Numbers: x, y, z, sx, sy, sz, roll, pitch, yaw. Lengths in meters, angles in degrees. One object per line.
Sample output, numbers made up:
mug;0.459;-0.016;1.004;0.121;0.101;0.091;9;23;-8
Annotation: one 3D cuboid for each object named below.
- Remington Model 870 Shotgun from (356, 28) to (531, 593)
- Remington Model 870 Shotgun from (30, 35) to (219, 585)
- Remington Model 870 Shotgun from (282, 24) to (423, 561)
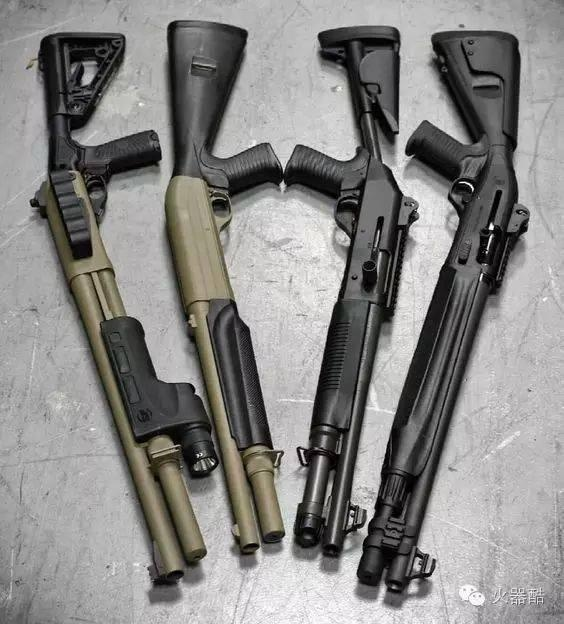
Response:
Remington Model 870 Shotgun;0.759;-0.124;3.284;0.693;0.516;2.441;19;64;-5
Remington Model 870 Shotgun;-0.767;-0.152;3.340;0.698;0.406;2.629;-10;58;-14
Remington Model 870 Shotgun;0.327;-0.136;3.271;0.556;0.378;2.203;6;55;7
